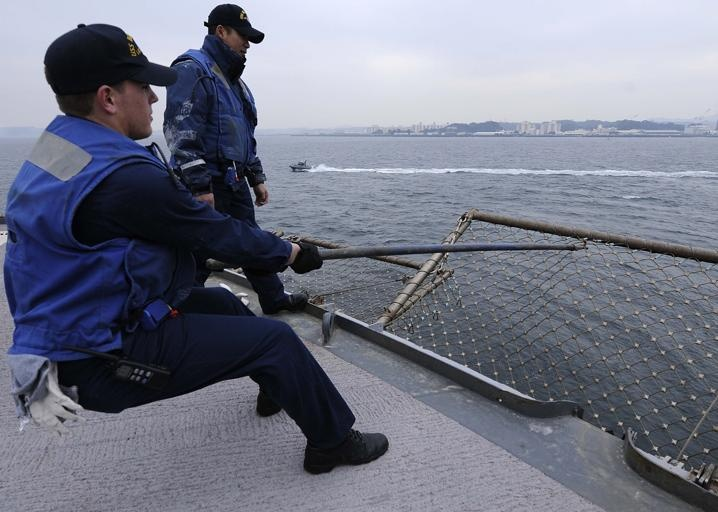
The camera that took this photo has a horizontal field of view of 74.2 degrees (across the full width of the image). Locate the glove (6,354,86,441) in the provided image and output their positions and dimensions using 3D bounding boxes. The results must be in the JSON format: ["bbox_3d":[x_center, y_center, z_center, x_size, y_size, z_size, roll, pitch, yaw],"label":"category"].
[{"bbox_3d":[-1.269,0.552,1.912,0.259,0.341,0.154,-6,19,-17],"label":"glove"}]

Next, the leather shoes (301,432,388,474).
[{"bbox_3d":[-0.045,0.969,2.466,0.475,0.162,0.165,-6,15,-19],"label":"leather shoes"}]
